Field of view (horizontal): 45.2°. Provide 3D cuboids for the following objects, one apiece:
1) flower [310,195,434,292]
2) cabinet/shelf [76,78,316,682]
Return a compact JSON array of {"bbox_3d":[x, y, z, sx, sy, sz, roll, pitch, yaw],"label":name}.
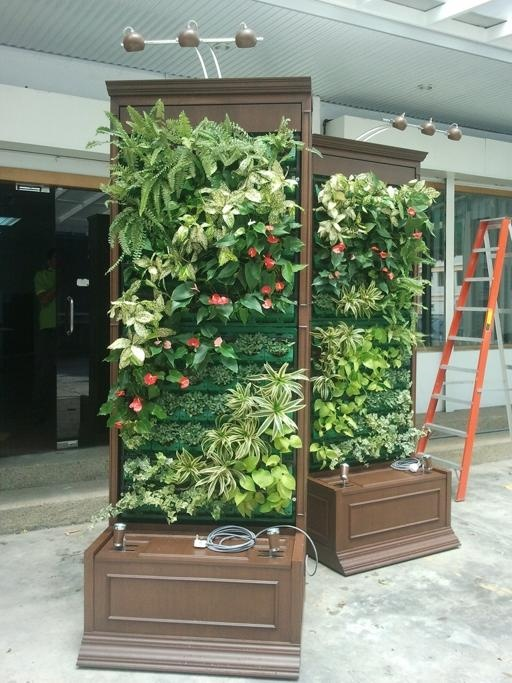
[{"bbox_3d":[0.593,-0.533,3.291,0.610,0.532,0.283,-3,18,-27],"label":"flower"},{"bbox_3d":[-0.211,0.043,2.379,0.842,2.162,0.656,0,1,4],"label":"cabinet/shelf"}]
